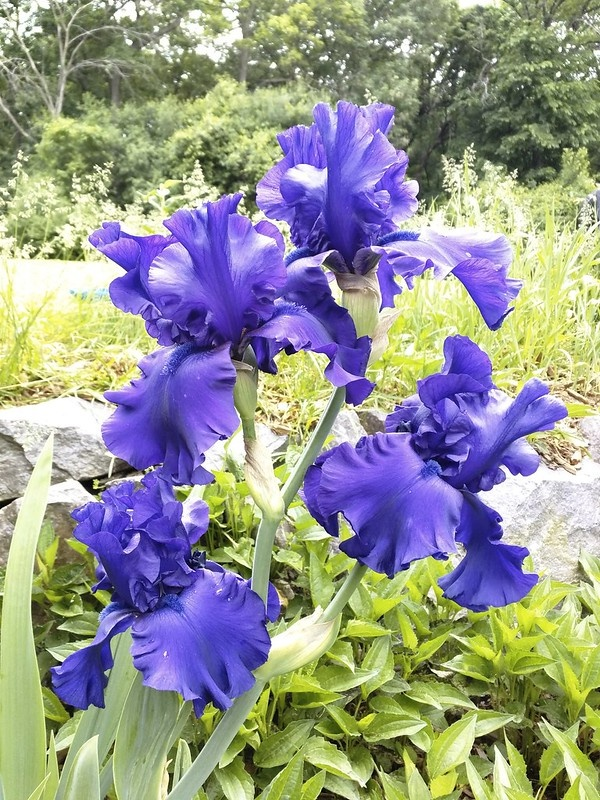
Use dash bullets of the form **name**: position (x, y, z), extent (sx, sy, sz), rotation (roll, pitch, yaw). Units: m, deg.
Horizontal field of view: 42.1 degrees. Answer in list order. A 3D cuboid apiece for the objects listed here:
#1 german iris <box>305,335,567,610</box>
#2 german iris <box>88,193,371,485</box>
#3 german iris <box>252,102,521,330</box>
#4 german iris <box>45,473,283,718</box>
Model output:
- **german iris**: position (0.198, 0.114, 1.070), extent (0.285, 0.389, 0.274), rotation (11, 19, 17)
- **german iris**: position (-0.100, -0.095, 1.063), extent (0.494, 0.304, 0.387), rotation (-3, 4, -3)
- **german iris**: position (0.150, -0.248, 1.210), extent (0.402, 0.279, 0.366), rotation (7, -16, -17)
- **german iris**: position (-0.224, 0.313, 1.124), extent (0.234, 0.333, 0.365), rotation (-6, 20, -31)
